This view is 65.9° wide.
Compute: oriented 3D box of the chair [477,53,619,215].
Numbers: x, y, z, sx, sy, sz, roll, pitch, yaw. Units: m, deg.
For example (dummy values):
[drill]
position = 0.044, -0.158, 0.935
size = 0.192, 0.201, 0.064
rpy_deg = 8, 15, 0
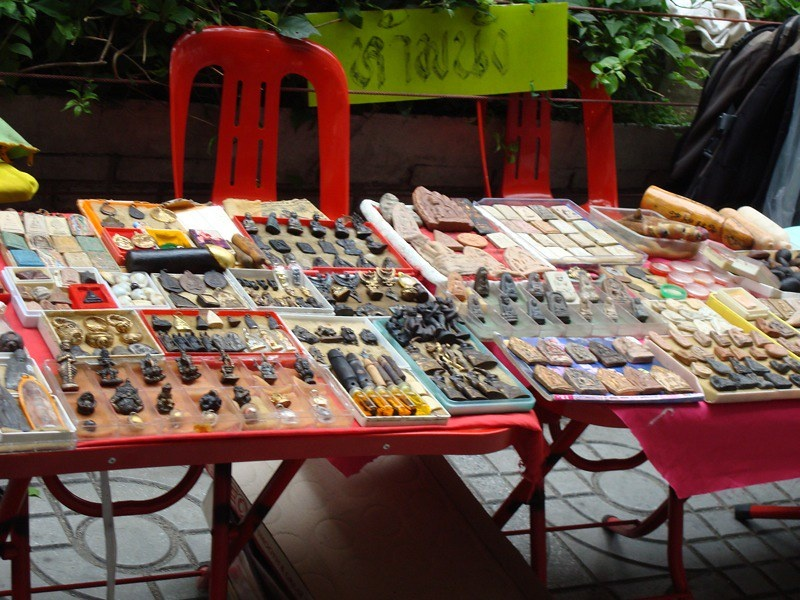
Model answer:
[chair]
position = 0.985, -1.015, 3.659
size = 0.684, 0.866, 0.626
rpy_deg = 4, 23, 6
